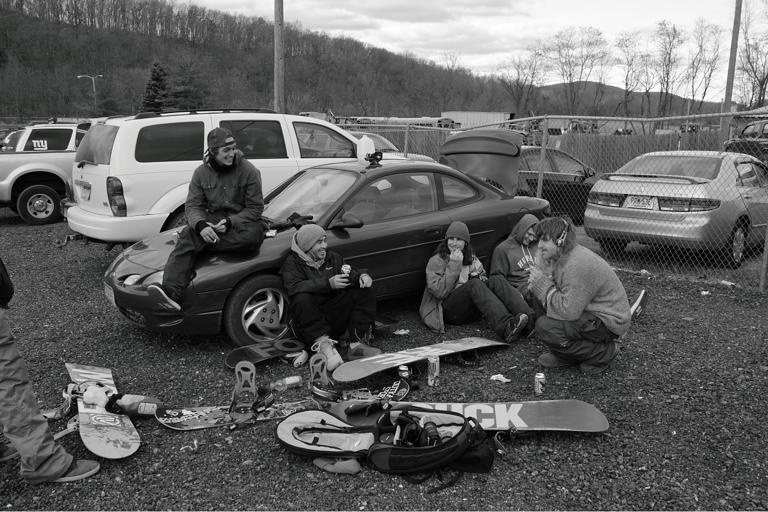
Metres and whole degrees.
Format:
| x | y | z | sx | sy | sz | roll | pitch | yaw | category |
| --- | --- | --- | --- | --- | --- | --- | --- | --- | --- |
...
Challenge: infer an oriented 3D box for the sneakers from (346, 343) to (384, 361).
| x | y | z | sx | sy | sz | roll | pitch | yaw | category |
| --- | --- | --- | --- | --- | --- | --- | --- | --- | --- |
| -0.206 | 1.004 | 5.964 | 0.274 | 0.123 | 0.173 | -1 | 6 | 0 | sneakers |

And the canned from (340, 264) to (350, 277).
| x | y | z | sx | sy | sz | roll | pitch | yaw | category |
| --- | --- | --- | --- | --- | --- | --- | --- | --- | --- |
| -0.391 | 0.163 | 6.010 | 0.094 | 0.106 | 0.111 | 1 | 10 | 2 | canned |

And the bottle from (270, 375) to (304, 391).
| x | y | z | sx | sy | sz | roll | pitch | yaw | category |
| --- | --- | --- | --- | --- | --- | --- | --- | --- | --- |
| -0.918 | 1.231 | 5.531 | 0.348 | 0.124 | 0.118 | -12 | 34 | -13 | bottle |

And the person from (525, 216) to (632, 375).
| x | y | z | sx | sy | sz | roll | pitch | yaw | category |
| --- | --- | --- | --- | --- | --- | --- | --- | --- | --- |
| 1.995 | 0.422 | 5.924 | 1.072 | 1.455 | 1.039 | -8 | 12 | -33 | person |

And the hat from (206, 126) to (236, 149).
| x | y | z | sx | sy | sz | roll | pitch | yaw | category |
| --- | --- | --- | --- | --- | --- | --- | --- | --- | --- |
| -1.778 | -1.324 | 6.368 | 0.327 | 0.174 | 0.232 | -26 | 38 | -32 | hat |

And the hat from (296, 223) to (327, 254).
| x | y | z | sx | sy | sz | roll | pitch | yaw | category |
| --- | --- | --- | --- | --- | --- | --- | --- | --- | --- |
| -0.766 | -0.193 | 6.088 | 0.311 | 0.249 | 0.240 | -14 | 12 | 1 | hat |

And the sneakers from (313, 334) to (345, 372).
| x | y | z | sx | sy | sz | roll | pitch | yaw | category |
| --- | --- | --- | --- | --- | --- | --- | --- | --- | --- |
| -0.548 | 0.984 | 5.794 | 0.196 | 0.195 | 0.433 | -16 | 30 | -24 | sneakers |

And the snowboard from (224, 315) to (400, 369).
| x | y | z | sx | sy | sz | roll | pitch | yaw | category |
| --- | --- | --- | --- | --- | --- | --- | --- | --- | --- |
| -0.822 | 0.904 | 5.943 | 1.192 | 0.171 | 0.283 | -12 | 38 | -26 | snowboard |

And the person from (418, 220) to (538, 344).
| x | y | z | sx | sy | sz | roll | pitch | yaw | category |
| --- | --- | --- | --- | --- | --- | --- | --- | --- | --- |
| 1.088 | 0.251 | 6.607 | 0.863 | 1.236 | 1.593 | -10 | 11 | -34 | person |

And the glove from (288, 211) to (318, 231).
| x | y | z | sx | sy | sz | roll | pitch | yaw | category |
| --- | --- | --- | --- | --- | --- | --- | --- | --- | --- |
| -0.889 | -0.414 | 6.411 | 0.230 | 0.084 | 0.231 | -13 | 40 | -40 | glove |

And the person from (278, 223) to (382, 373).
| x | y | z | sx | sy | sz | roll | pitch | yaw | category |
| --- | --- | --- | --- | --- | --- | --- | --- | --- | --- |
| -0.578 | 0.380 | 6.140 | 0.969 | 1.458 | 1.121 | -9 | 8 | -33 | person |

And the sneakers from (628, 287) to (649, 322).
| x | y | z | sx | sy | sz | roll | pitch | yaw | category |
| --- | --- | --- | --- | --- | --- | --- | --- | --- | --- |
| 3.134 | 0.616 | 6.955 | 0.383 | 0.148 | 0.121 | -51 | 28 | -22 | sneakers |

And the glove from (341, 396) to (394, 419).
| x | y | z | sx | sy | sz | roll | pitch | yaw | category |
| --- | --- | --- | --- | --- | --- | --- | --- | --- | --- |
| -0.152 | 1.310 | 4.921 | 0.261 | 0.098 | 0.169 | -21 | 11 | -10 | glove |

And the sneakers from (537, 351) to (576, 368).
| x | y | z | sx | sy | sz | roll | pitch | yaw | category |
| --- | --- | --- | --- | --- | --- | --- | --- | --- | --- |
| 1.773 | 1.074 | 5.849 | 0.388 | 0.159 | 0.145 | 3 | 33 | 8 | sneakers |

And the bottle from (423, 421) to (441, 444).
| x | y | z | sx | sy | sz | roll | pitch | yaw | category |
| --- | --- | --- | --- | --- | --- | --- | --- | --- | --- |
| 0.394 | 1.428 | 4.593 | 0.092 | 0.083 | 0.160 | -28 | 5 | 5 | bottle |

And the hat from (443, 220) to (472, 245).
| x | y | z | sx | sy | sz | roll | pitch | yaw | category |
| --- | --- | --- | --- | --- | --- | --- | --- | --- | --- |
| 0.885 | -0.281 | 6.641 | 0.194 | 0.185 | 0.285 | 8 | 1 | 11 | hat |

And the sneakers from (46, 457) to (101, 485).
| x | y | z | sx | sy | sz | roll | pitch | yaw | category |
| --- | --- | --- | --- | --- | --- | --- | --- | --- | --- |
| -2.402 | 1.670 | 4.419 | 0.347 | 0.141 | 0.146 | -4 | 12 | -22 | sneakers |
